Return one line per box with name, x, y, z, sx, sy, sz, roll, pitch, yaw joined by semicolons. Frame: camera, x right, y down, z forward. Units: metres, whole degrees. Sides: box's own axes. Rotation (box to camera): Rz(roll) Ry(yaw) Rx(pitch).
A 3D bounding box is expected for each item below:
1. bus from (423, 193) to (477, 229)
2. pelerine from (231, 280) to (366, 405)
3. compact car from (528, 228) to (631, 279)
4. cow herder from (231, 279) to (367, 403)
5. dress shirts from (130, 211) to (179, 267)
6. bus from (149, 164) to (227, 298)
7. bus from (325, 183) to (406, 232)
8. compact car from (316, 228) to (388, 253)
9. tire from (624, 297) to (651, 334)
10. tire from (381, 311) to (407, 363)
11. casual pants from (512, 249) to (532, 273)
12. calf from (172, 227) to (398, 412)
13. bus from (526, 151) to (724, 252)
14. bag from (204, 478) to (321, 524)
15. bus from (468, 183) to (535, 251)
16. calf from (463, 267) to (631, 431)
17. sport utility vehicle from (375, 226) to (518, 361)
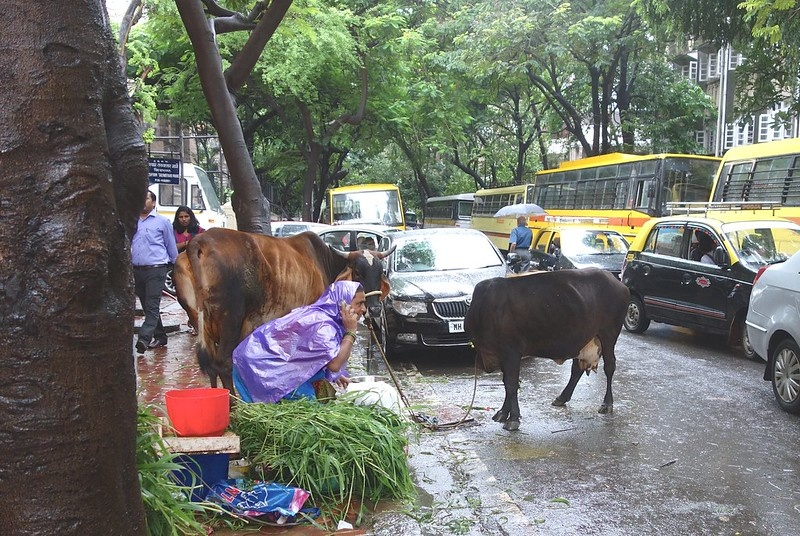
bus;3.149;-3.638;41.605;2.034;2.416;6.328;-1;5;-20
pelerine;-0.832;0.647;5.756;1.150;0.966;0.848;-3;6;7
compact car;4.283;-0.466;15.882;1.524;1.409;2.651;-2;-3;-18
cow herder;-0.859;0.650;5.787;1.254;1.016;0.923;0;8;15
dress shirts;-3.857;-0.414;9.947;0.900;0.913;0.501;-6;-6;6
bus;-7.956;-2.092;24.408;3.436;3.304;2.441;4;9;17
bus;-1.351;-2.579;27.020;4.163;2.407;1.684;2;-3;4
compact car;-1.106;-0.689;15.307;1.423;0.725;0.895;9;8;10
tire;4.620;0.910;12.638;0.233;0.705;0.683;3;-5;-15
tire;-0.091;1.027;9.831;0.311;0.266;0.767;-7;18;-4
casual pants;2.782;-0.152;14.791;0.580;0.439;1.308;7;1;9
calf;-1.228;0.449;7.485;0.925;1.627;3.005;0;2;34
bus;8.070;-2.499;24.516;3.128;3.485;9.645;-1;0;-16
bag;-0.981;1.640;4.559;0.507;0.172;0.358;9;5;6
bus;4.859;-2.832;32.585;1.942;2.975;5.558;1;3;-17
calf;1.599;0.882;7.348;1.987;1.718;0.804;-3;9;-10
sport utility vehicle;0.615;0.432;9.527;1.974;1.768;4.394;-1;1;-4
